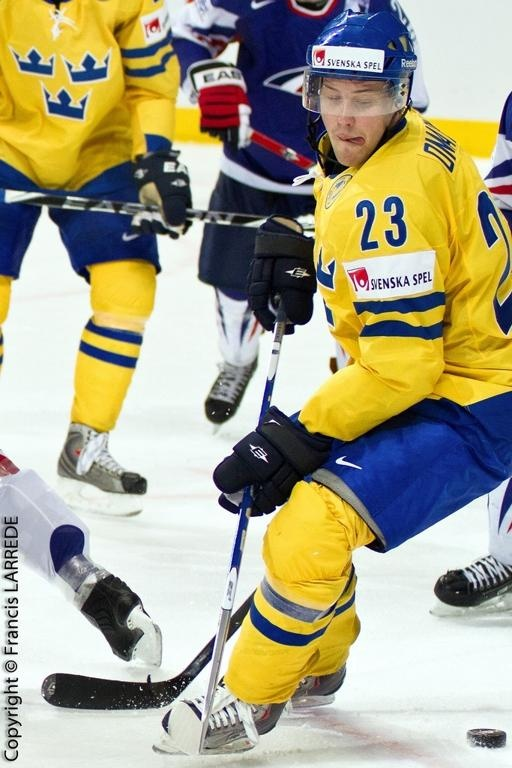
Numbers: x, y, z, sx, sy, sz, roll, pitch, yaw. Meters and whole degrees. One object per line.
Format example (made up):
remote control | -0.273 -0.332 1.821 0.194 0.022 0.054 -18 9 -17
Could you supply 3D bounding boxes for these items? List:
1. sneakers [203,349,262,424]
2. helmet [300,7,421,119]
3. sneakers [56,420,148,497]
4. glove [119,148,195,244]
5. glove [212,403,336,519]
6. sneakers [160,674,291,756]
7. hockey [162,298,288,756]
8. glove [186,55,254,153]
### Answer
sneakers | -0.098 0.032 3.018 0.116 0.350 0.152 27 -18 4
helmet | 0.171 -0.507 1.215 0.160 0.179 0.183 10 38 19
sneakers | -0.429 0.211 2.165 0.278 0.159 0.096 14 8 25
glove | -0.238 -0.500 2.033 0.190 0.221 0.089 -17 -8 37
glove | 0.053 0.122 1.183 0.151 0.181 0.068 46 6 22
sneakers | -0.048 0.479 1.119 0.194 0.075 0.077 -8 -21 -23
hockey | -0.012 0.163 1.274 0.085 0.826 0.103 -6 -28 36
glove | -0.109 -0.866 2.313 0.188 0.260 0.085 -3 -7 -2
